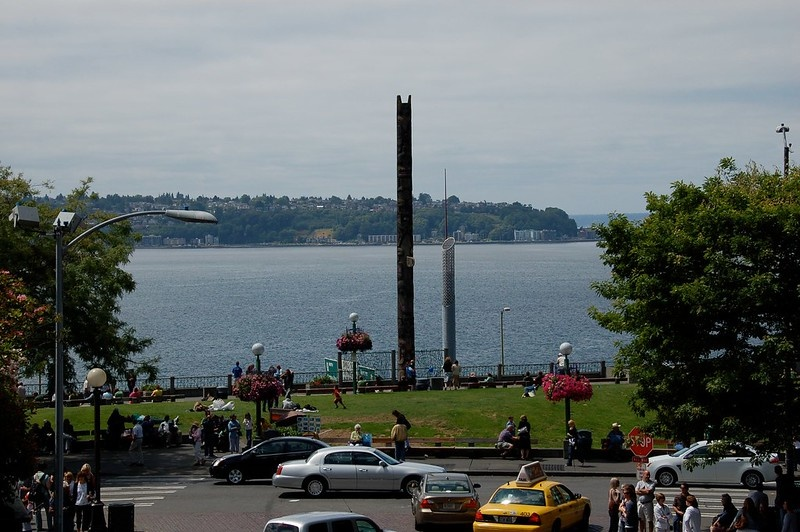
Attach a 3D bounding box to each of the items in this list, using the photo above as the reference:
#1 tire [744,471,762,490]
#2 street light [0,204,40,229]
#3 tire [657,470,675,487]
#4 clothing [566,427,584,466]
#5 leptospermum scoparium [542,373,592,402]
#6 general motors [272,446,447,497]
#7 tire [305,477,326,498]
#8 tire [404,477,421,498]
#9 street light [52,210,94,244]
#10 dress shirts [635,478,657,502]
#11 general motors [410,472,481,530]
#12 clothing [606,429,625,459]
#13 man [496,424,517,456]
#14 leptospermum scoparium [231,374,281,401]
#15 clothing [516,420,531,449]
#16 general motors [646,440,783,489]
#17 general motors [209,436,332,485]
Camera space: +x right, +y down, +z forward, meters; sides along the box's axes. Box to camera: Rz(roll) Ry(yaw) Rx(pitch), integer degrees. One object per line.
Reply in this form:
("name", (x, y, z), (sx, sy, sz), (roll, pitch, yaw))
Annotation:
("tire", (16.768, 10.154, 91.683), (0.960, 0.837, 0.343), (1, 4, 5))
("street light", (-17.587, -2.189, 89.011), (1.111, 1.041, 1.505), (-7, 4, -23))
("tire", (12.705, 10.133, 92.106), (0.688, 0.622, 0.232), (20, 2, 14))
("clothing", (8.579, 8.744, 95.655), (1.195, 2.121, 0.763), (2, -1, -41))
("leptospermum scoparium", (8.227, 6.082, 95.682), (1.652, 1.084, 1.725), (0, 1, 4))
("general motors", (-1.893, 9.807, 90.178), (7.922, 1.929, 2.881), (-1, 0, 3))
("tire", (-3.968, 10.217, 89.567), (1.058, 0.923, 0.378), (1, 0, 4))
("tire", (0.530, 10.061, 88.227), (1.151, 1.002, 0.408), (0, 2, -4))
("street light", (-15.796, -1.761, 92.440), (1.000, 1.806, 1.837), (22, -3, -43))
("dress shirts", (10.908, 9.991, 85.867), (1.194, 1.325, 0.824), (-2, -10, 12))
("general motors", (1.956, 10.489, 85.507), (2.616, 1.594, 4.889), (-1, 2, 0))
("clothing", (10.697, 8.842, 96.385), (0.861, 1.639, 0.502), (1, -1, 5))
("man", (5.281, 8.724, 96.269), (0.770, 1.534, 0.686), (1, -1, -38))
("leptospermum scoparium", (-7.387, 6.227, 98.866), (1.639, 0.923, 1.652), (0, 2, -1))
("clothing", (6.171, 8.376, 96.648), (0.676, 1.526, 1.181), (1, -1, 4))
("general motors", (14.686, 9.744, 91.152), (6.590, 1.966, 2.724), (1, -4, 7))
("general motors", (-6.576, 9.368, 92.538), (5.477, 1.578, 2.341), (-1, -3, 2))
